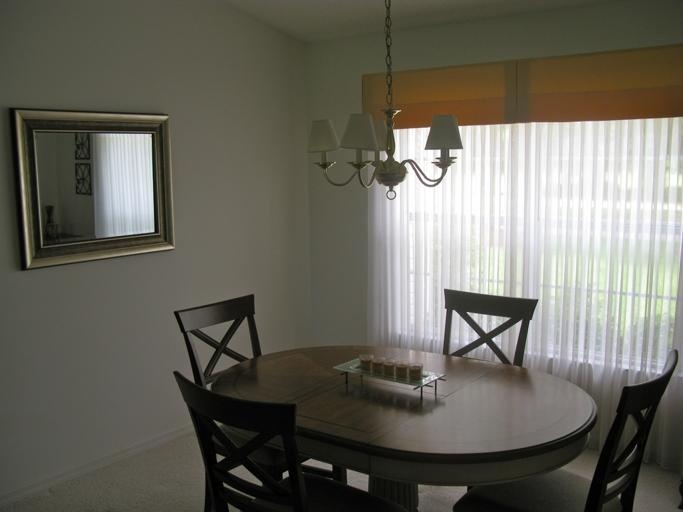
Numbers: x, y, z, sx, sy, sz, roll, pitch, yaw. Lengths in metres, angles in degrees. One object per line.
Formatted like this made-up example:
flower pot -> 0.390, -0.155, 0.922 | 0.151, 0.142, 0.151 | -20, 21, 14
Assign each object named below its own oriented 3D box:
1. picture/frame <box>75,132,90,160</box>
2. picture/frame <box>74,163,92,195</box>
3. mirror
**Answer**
picture/frame -> -1.743, -0.729, 3.647 | 0.102, 0.170, 0.033 | -8, 15, -36
picture/frame -> -1.743, -0.516, 3.660 | 0.013, 0.206, 0.104 | 6, 9, 33
mirror -> -1.734, -0.464, 3.680 | 0.073, 1.139, 1.029 | 3, 5, 42
